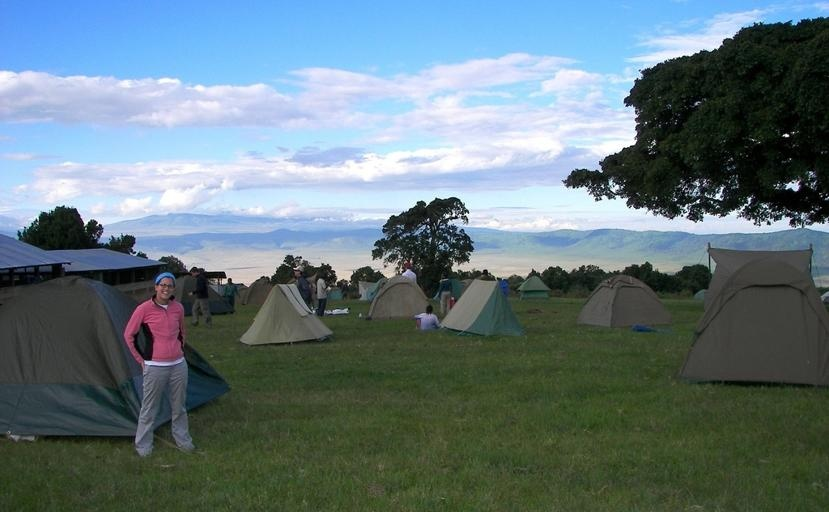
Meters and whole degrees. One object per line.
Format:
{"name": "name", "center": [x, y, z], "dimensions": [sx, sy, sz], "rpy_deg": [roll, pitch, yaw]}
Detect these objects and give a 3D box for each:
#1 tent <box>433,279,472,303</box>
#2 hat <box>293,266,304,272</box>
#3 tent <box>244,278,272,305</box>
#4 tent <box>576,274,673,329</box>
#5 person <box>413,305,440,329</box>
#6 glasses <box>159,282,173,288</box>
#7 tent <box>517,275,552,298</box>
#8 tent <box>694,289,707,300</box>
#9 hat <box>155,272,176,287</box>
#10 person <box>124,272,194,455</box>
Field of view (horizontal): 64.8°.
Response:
{"name": "tent", "center": [2.005, 1.756, 33.370], "dimensions": [1.930, 0.833, 2.358], "rpy_deg": [-2, -2, 2]}
{"name": "hat", "center": [-6.058, 0.632, 34.255], "dimensions": [0.397, 0.224, 0.278], "rpy_deg": [22, 14, 12]}
{"name": "tent", "center": [-11.146, 2.560, 46.084], "dimensions": [2.070, 0.675, 1.558], "rpy_deg": [-9, 18, 38]}
{"name": "tent", "center": [8.544, 1.830, 26.054], "dimensions": [2.794, 1.325, 2.255], "rpy_deg": [1, -4, -10]}
{"name": "person", "center": [0.396, 2.470, 26.316], "dimensions": [1.266, 1.157, 0.796], "rpy_deg": [2, 8, 19]}
{"name": "glasses", "center": [-5.031, 0.577, 13.214], "dimensions": [0.270, 0.107, 0.118], "rpy_deg": [-10, 17, -32]}
{"name": "tent", "center": [8.571, 2.269, 47.115], "dimensions": [1.848, 1.067, 1.604], "rpy_deg": [-1, 4, -23]}
{"name": "tent", "center": [19.937, 2.627, 45.450], "dimensions": [1.196, 0.485, 1.202], "rpy_deg": [-4, 3, 32]}
{"name": "hat", "center": [-5.055, 0.458, 13.343], "dimensions": [0.289, 0.193, 0.339], "rpy_deg": [-5, 1, 7]}
{"name": "person", "center": [-5.250, 2.163, 13.338], "dimensions": [1.194, 3.566, 1.177], "rpy_deg": [-7, 16, -20]}
